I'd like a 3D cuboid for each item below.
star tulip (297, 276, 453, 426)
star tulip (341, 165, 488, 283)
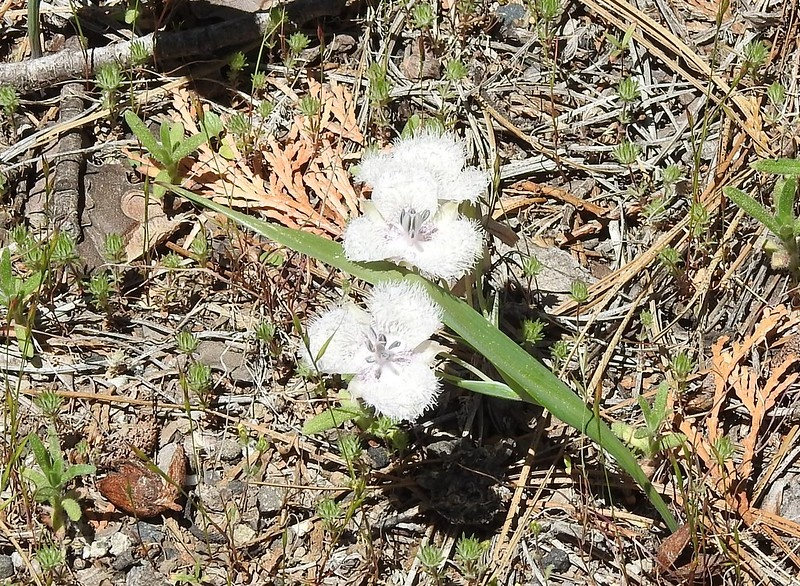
[{"bbox_3d":[-0.069,0.185,3.333,0.594,0.193,0.479,28,65,15],"label":"star tulip"},{"bbox_3d":[0.069,-0.302,3.394,0.570,0.135,0.403,11,62,7],"label":"star tulip"}]
